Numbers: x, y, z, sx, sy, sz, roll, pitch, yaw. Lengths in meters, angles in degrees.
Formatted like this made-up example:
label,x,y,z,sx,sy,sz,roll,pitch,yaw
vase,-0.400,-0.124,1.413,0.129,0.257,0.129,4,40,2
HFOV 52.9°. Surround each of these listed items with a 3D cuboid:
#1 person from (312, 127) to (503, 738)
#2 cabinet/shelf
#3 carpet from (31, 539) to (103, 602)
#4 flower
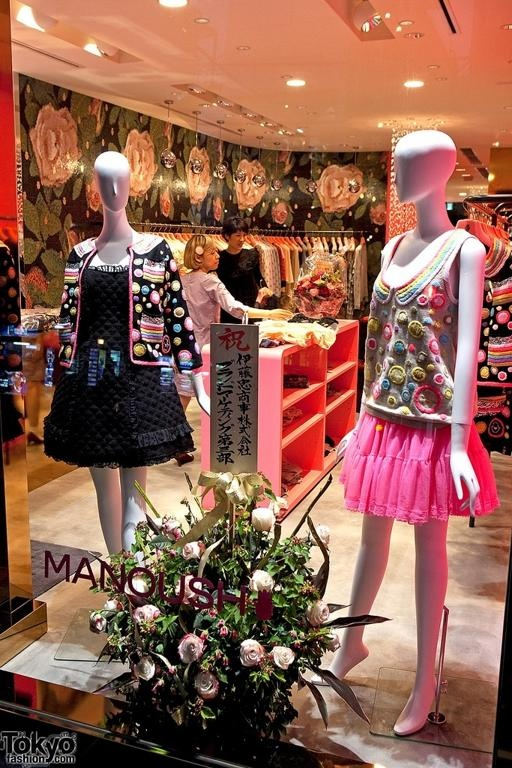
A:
label,x,y,z,sx,sy,sz,roll,pitch,yaw
person,0.373,0.165,1.161,0.317,1.323,0.501,0,-5,-4
cabinet/shelf,0.069,0.114,1.508,0.194,0.453,0.614,2,9,17
carpet,-0.648,0.622,1.772,0.259,0.293,0.001,13,14,22
flower,-0.076,0.572,1.400,0.674,0.640,0.618,-12,-27,-9
